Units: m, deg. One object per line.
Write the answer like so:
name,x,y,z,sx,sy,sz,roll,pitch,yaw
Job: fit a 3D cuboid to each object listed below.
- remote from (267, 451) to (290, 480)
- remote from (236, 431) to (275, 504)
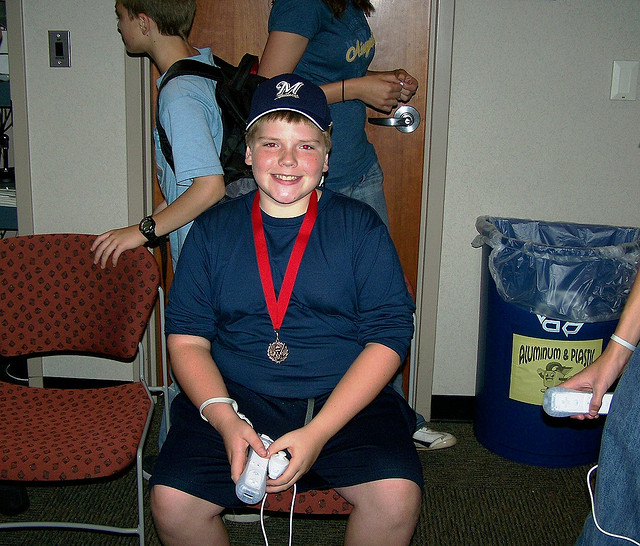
remote,-0.093,0.433,1.241,0.037,0.032,0.054,21,56,-6
remote,-0.146,0.452,1.269,0.056,0.042,0.117,13,51,0
